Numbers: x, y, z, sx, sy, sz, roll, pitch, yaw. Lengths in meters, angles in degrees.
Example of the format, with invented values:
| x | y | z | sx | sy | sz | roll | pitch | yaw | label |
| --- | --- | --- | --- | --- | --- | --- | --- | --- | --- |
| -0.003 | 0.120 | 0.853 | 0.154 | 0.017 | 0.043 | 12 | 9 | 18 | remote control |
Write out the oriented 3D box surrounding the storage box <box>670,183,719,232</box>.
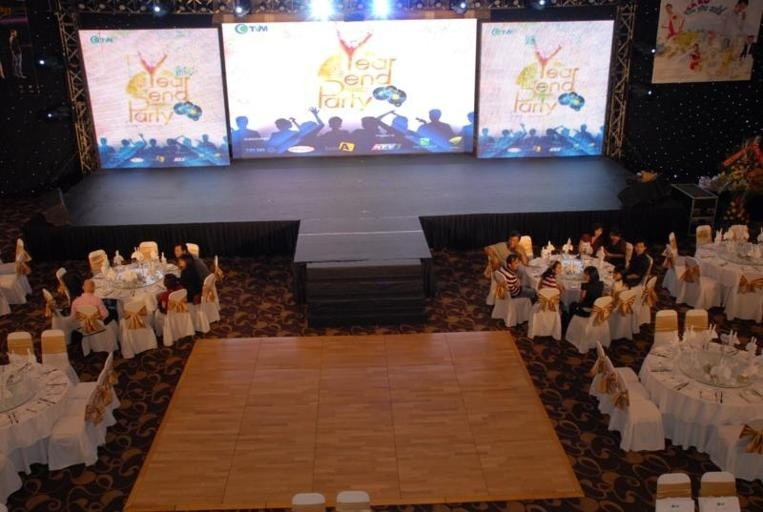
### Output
| x | y | z | sx | sy | sz | roll | pitch | yaw | label |
| --- | --- | --- | --- | --- | --- | --- | --- | --- | --- |
| 7.944 | -1.197 | 13.090 | 0.759 | 0.854 | 1.170 | 0 | 33 | 2 | storage box |
